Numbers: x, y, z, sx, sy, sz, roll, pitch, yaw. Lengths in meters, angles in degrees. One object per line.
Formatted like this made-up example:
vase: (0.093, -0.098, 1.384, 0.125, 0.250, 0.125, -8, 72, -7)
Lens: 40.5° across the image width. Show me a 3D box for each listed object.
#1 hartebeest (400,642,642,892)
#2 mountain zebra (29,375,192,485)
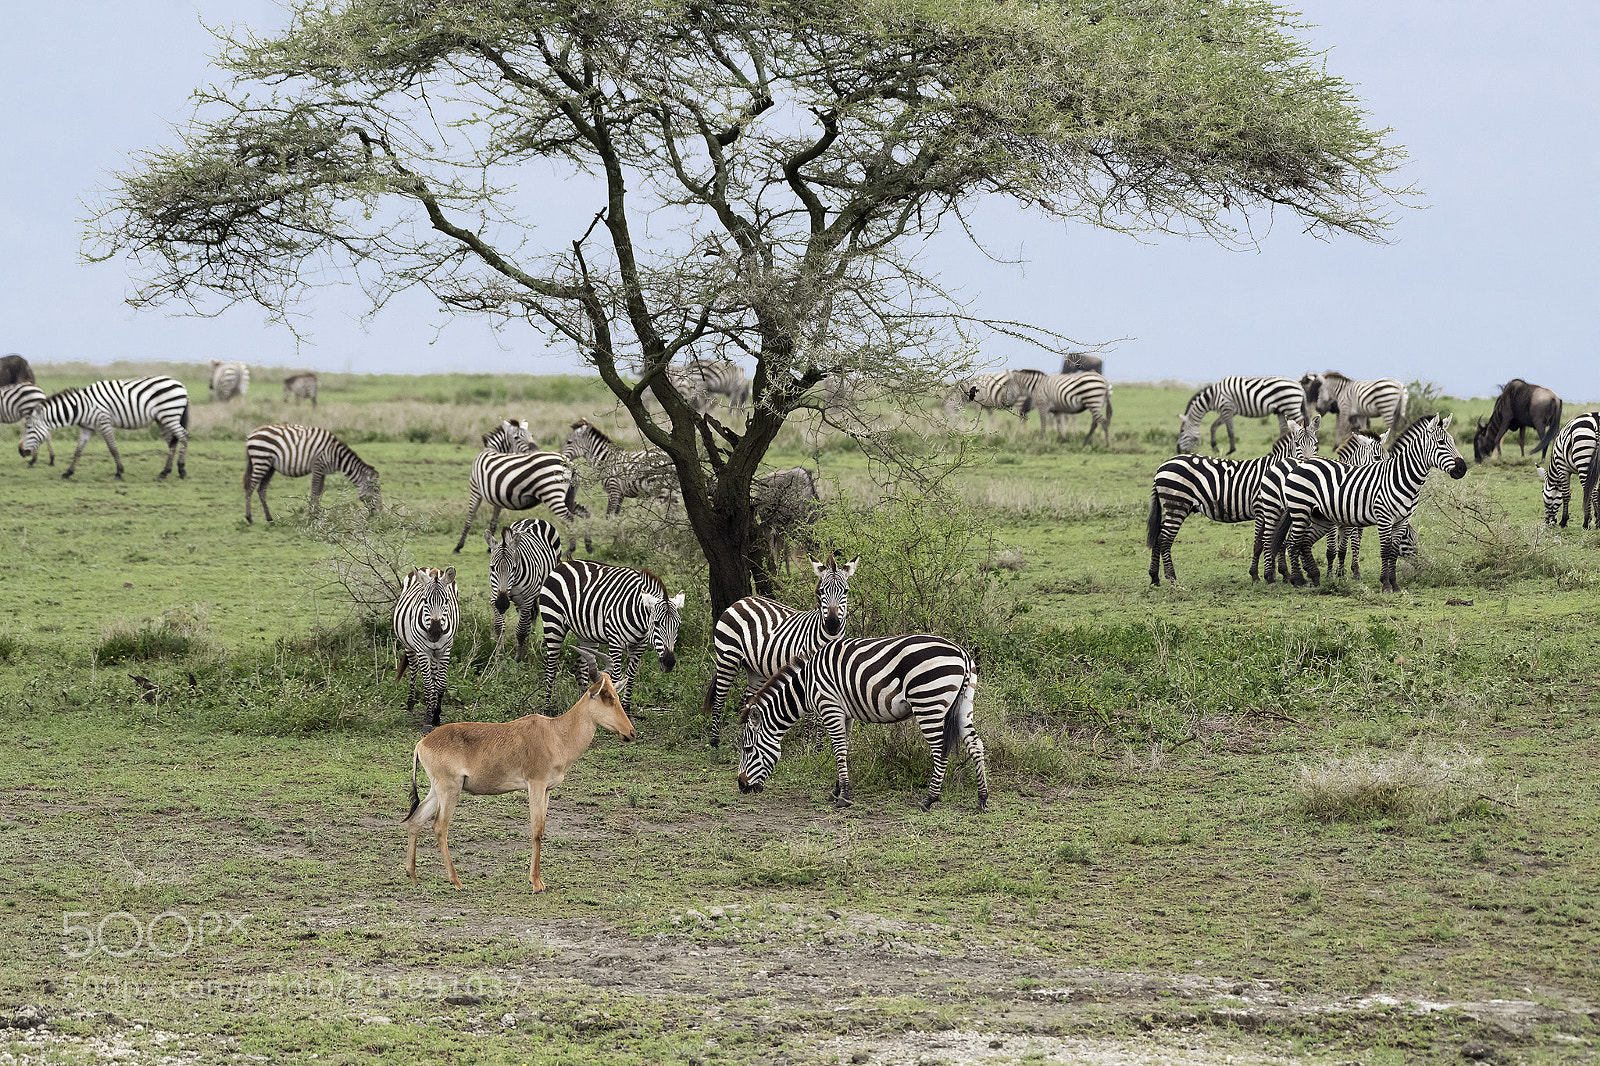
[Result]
hartebeest: (-3.241, 2.667, 23.885, 2.178, 2.285, 1.889, 2, 0, -20)
mountain zebra: (-14.489, -2.202, 45.554, 3.079, 2.074, 5.501, 2, 0, -18)
